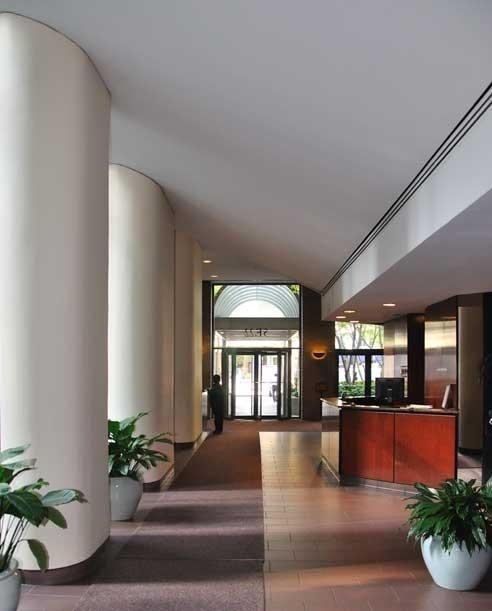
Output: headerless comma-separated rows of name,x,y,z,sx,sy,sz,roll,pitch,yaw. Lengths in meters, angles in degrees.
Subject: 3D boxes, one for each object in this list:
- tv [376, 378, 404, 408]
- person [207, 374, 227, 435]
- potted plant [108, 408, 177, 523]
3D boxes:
tv,2.159,1.305,6.928,0.376,0.407,0.214,1,7,12
person,-0.676,2.269,10.624,0.307,1.345,0.871,1,-8,-4
potted plant,-1.121,1.584,4.822,0.880,1.000,0.811,1,-1,-40
